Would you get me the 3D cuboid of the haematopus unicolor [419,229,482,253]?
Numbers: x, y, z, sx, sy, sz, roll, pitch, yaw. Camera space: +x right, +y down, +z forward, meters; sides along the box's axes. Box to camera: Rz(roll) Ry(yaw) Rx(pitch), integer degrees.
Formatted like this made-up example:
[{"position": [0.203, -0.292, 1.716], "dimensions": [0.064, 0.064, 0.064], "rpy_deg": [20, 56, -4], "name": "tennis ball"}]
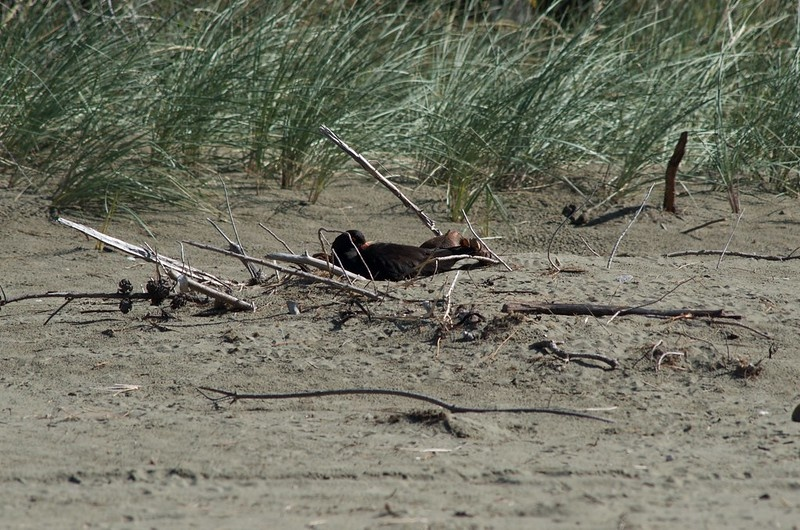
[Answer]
[{"position": [0.413, -0.182, 8.098], "dimensions": [0.546, 0.195, 0.167], "rpy_deg": [-8, 2, 23], "name": "haematopus unicolor"}]
